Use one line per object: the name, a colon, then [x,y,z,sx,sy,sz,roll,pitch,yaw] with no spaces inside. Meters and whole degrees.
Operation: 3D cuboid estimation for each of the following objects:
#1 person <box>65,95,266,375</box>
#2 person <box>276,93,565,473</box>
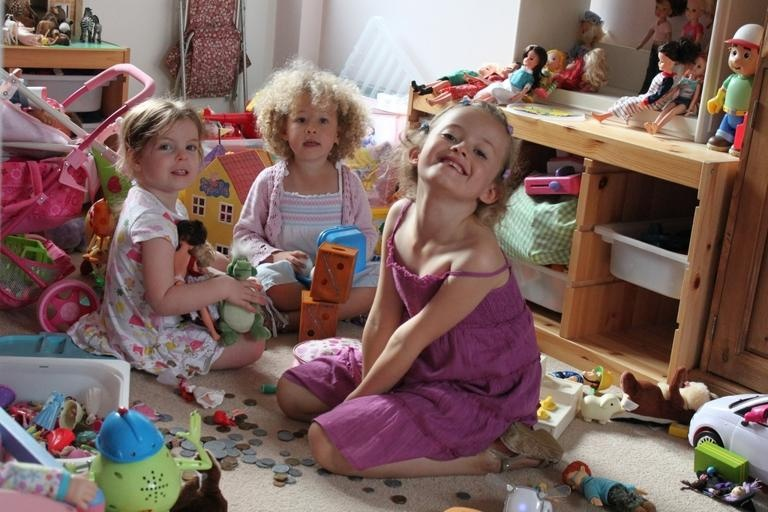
person: [-0.643,-0.060,1.784,0.672,0.810,0.571,-7,24,-36]
person: [0.054,0.053,1.520,0.751,0.929,0.647,-2,9,-35]
